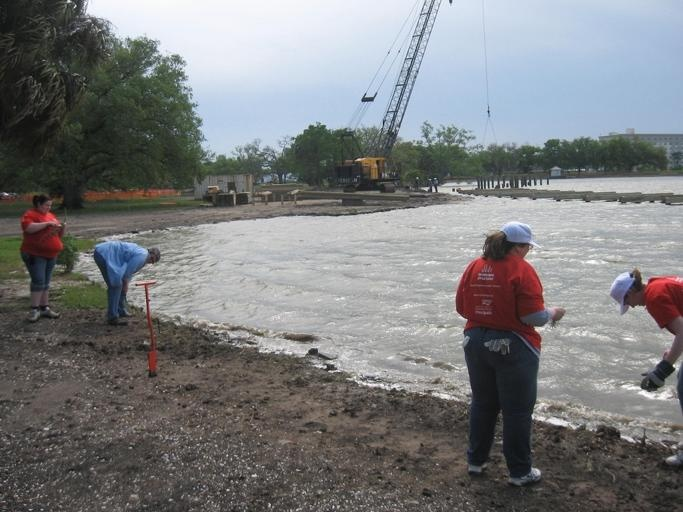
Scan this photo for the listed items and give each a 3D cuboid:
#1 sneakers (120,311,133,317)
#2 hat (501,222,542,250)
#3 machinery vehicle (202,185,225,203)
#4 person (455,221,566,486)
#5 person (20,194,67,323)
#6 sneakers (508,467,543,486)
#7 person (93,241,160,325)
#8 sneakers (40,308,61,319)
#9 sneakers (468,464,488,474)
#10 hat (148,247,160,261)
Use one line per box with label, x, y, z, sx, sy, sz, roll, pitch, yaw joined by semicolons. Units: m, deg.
sneakers;-4.390;1.194;12.593;0.129;0.069;0.224;0;-1;9
hat;2.157;-0.259;7.351;0.525;0.239;0.326;2;16;-29
machinery vehicle;-10.682;-4.889;50.765;1.200;1.186;1.546;0;11;-7
person;1.922;1.160;7.342;1.083;3.051;0.507;5;12;18
person;-5.774;0.045;11.947;0.739;2.373;0.799;-4;13;-26
sneakers;2.212;2.626;7.466;0.420;0.181;0.165;-18;26;-19
person;-4.224;0.543;11.914;0.815;1.573;1.202;-8;15;-40
sneakers;-5.729;1.116;12.241;0.448;0.180;0.156;7;12;-10
sneakers;1.648;2.581;7.539;0.274;0.110;0.092;-1;9;-43
hat;-3.638;-0.022;11.920;0.198;0.312;0.757;-2;12;-15
